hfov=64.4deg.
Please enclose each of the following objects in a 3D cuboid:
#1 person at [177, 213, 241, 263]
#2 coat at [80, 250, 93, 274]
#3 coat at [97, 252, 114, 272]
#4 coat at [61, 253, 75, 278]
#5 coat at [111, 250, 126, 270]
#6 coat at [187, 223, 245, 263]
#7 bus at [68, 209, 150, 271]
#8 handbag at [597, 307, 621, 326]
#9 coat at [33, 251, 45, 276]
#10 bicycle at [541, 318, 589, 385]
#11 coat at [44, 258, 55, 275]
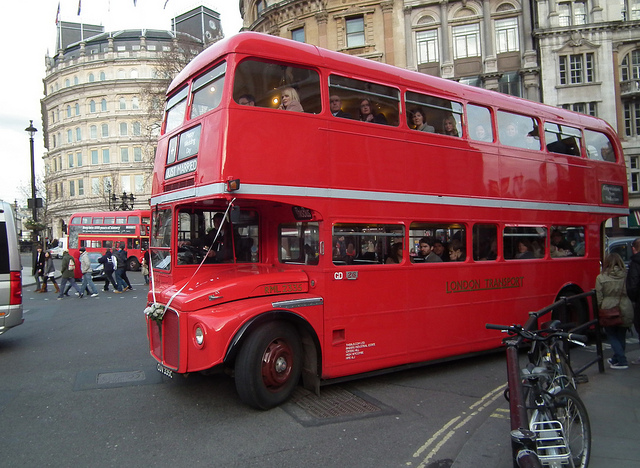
[{"bbox_3d":[-1.977,0.098,8.820,0.680,0.815,0.977,18,22,38],"label":"person"},{"bbox_3d":[-8.938,1.078,19.146,0.349,0.782,0.706,-3,6,-27],"label":"coat"},{"bbox_3d":[-8.475,1.114,20.003,0.536,0.742,0.431,-5,7,-39],"label":"coat"},{"bbox_3d":[-9.488,1.189,18.889,0.418,0.961,0.379,-5,8,-41],"label":"coat"},{"bbox_3d":[-8.171,1.028,20.160,0.737,0.833,0.579,-5,7,-20],"label":"coat"},{"bbox_3d":[-1.710,0.227,8.788,0.544,0.836,0.272,1,-11,3],"label":"coat"},{"bbox_3d":[-14.005,0.271,33.925,5.922,3.626,2.232,1,-1,15],"label":"bus"},{"bbox_3d":[5.198,1.502,9.091,0.278,0.295,0.113,-2,-8,28],"label":"handbag"},{"bbox_3d":[-11.293,1.204,20.261,0.408,0.956,0.191,2,6,19],"label":"coat"},{"bbox_3d":[3.409,1.668,7.059,0.875,1.102,0.234,10,-21,-30],"label":"bicycle"},{"bbox_3d":[-11.233,1.340,20.773,0.458,0.682,0.400,-4,-6,33],"label":"coat"}]
